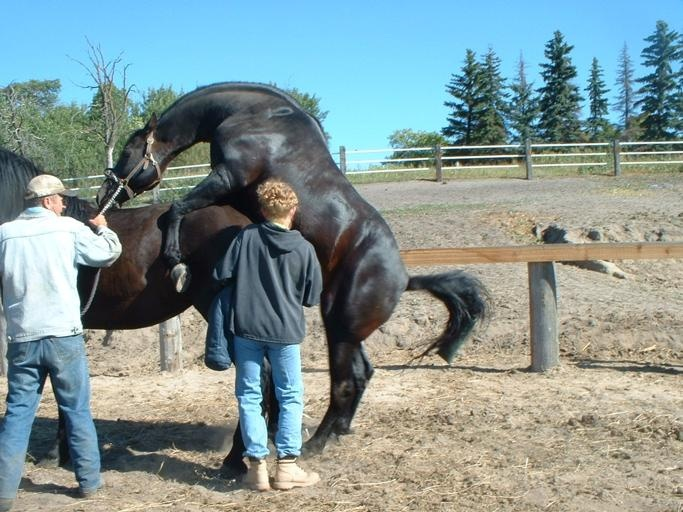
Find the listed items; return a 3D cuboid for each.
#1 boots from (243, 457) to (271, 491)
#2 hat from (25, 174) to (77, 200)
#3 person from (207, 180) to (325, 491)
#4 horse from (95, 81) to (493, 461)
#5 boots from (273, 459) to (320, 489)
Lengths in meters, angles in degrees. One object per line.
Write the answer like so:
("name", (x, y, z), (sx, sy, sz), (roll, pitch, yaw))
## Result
("boots", (-0.656, 1.703, 6.130), (0.154, 0.230, 0.332), (-1, 7, -8))
("hat", (-2.248, -0.526, 6.071), (0.308, 0.129, 0.204), (-6, 11, -24))
("person", (-0.543, 0.640, 6.063), (0.812, 2.389, 0.378), (-2, 9, -5))
("horse", (-0.379, 0.047, 6.692), (4.272, 2.914, 0.963), (16, 9, 23))
("boots", (-0.381, 1.720, 6.141), (0.450, 0.233, 0.166), (-2, 4, -23))
